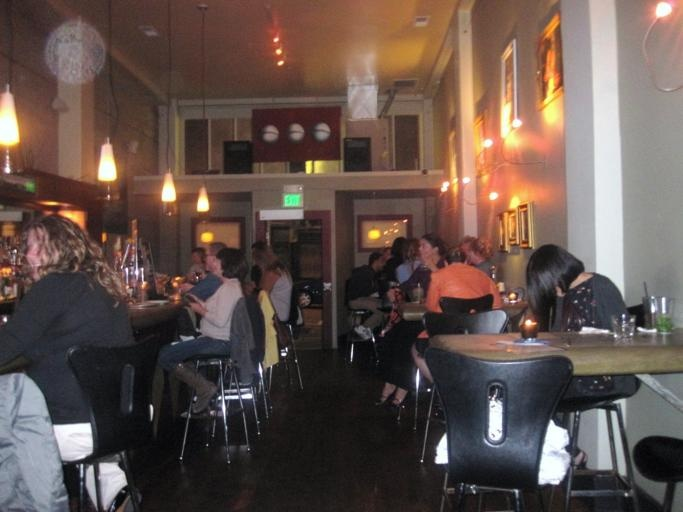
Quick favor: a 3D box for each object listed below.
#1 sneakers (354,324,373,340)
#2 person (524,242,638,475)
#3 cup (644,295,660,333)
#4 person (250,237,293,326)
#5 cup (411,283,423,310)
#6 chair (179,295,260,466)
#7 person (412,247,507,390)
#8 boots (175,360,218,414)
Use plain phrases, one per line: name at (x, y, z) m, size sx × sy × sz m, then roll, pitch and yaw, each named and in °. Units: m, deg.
sneakers at (0.337, 1.083, 8.253) m, size 0.290 × 0.194 × 0.137 m, roll 22°, pitch 17°, yaw -32°
person at (1.564, 0.660, 3.851) m, size 0.745 × 1.449 × 0.696 m, roll -6°, pitch 5°, yaw 44°
cup at (1.806, 0.325, 3.524) m, size 0.137 × 0.232 × 0.141 m, roll 2°, pitch -2°, yaw 0°
person at (-0.771, 0.305, 6.523) m, size 0.418 × 0.915 × 0.629 m, roll -2°, pitch 4°, yaw 5°
cup at (0.759, 0.391, 6.258) m, size 0.150 × 0.287 × 0.158 m, roll 2°, pitch -3°, yaw 0°
chair at (-1.005, 0.922, 5.106) m, size 0.717 × 1.190 × 1.300 m, roll -3°, pitch 4°, yaw -12°
person at (0.976, 0.508, 5.289) m, size 0.561 × 1.302 × 0.726 m, roll -22°, pitch 31°, yaw -37°
boots at (-1.217, 1.102, 5.072) m, size 0.253 × 0.639 × 0.202 m, roll -23°, pitch 30°, yaw -37°
